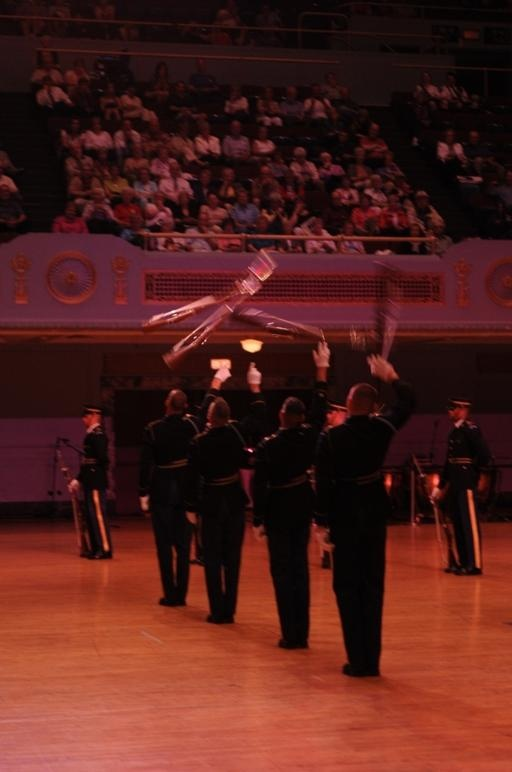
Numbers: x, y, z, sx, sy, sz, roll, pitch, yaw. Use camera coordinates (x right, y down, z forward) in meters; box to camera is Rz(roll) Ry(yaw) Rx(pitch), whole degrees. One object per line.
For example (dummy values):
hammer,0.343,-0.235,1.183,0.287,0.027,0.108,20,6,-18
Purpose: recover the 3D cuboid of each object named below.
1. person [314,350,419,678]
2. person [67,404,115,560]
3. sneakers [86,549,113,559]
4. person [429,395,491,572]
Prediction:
person,0.610,0.738,5.630,0.540,1.793,0.631,-4,15,-5
person,-1.724,1.009,10.777,0.432,1.541,0.844,-5,14,-9
sneakers,-1.621,1.746,10.691,0.292,0.095,0.103,6,58,7
person,1.876,0.976,9.535,0.519,1.672,0.864,0,14,9
